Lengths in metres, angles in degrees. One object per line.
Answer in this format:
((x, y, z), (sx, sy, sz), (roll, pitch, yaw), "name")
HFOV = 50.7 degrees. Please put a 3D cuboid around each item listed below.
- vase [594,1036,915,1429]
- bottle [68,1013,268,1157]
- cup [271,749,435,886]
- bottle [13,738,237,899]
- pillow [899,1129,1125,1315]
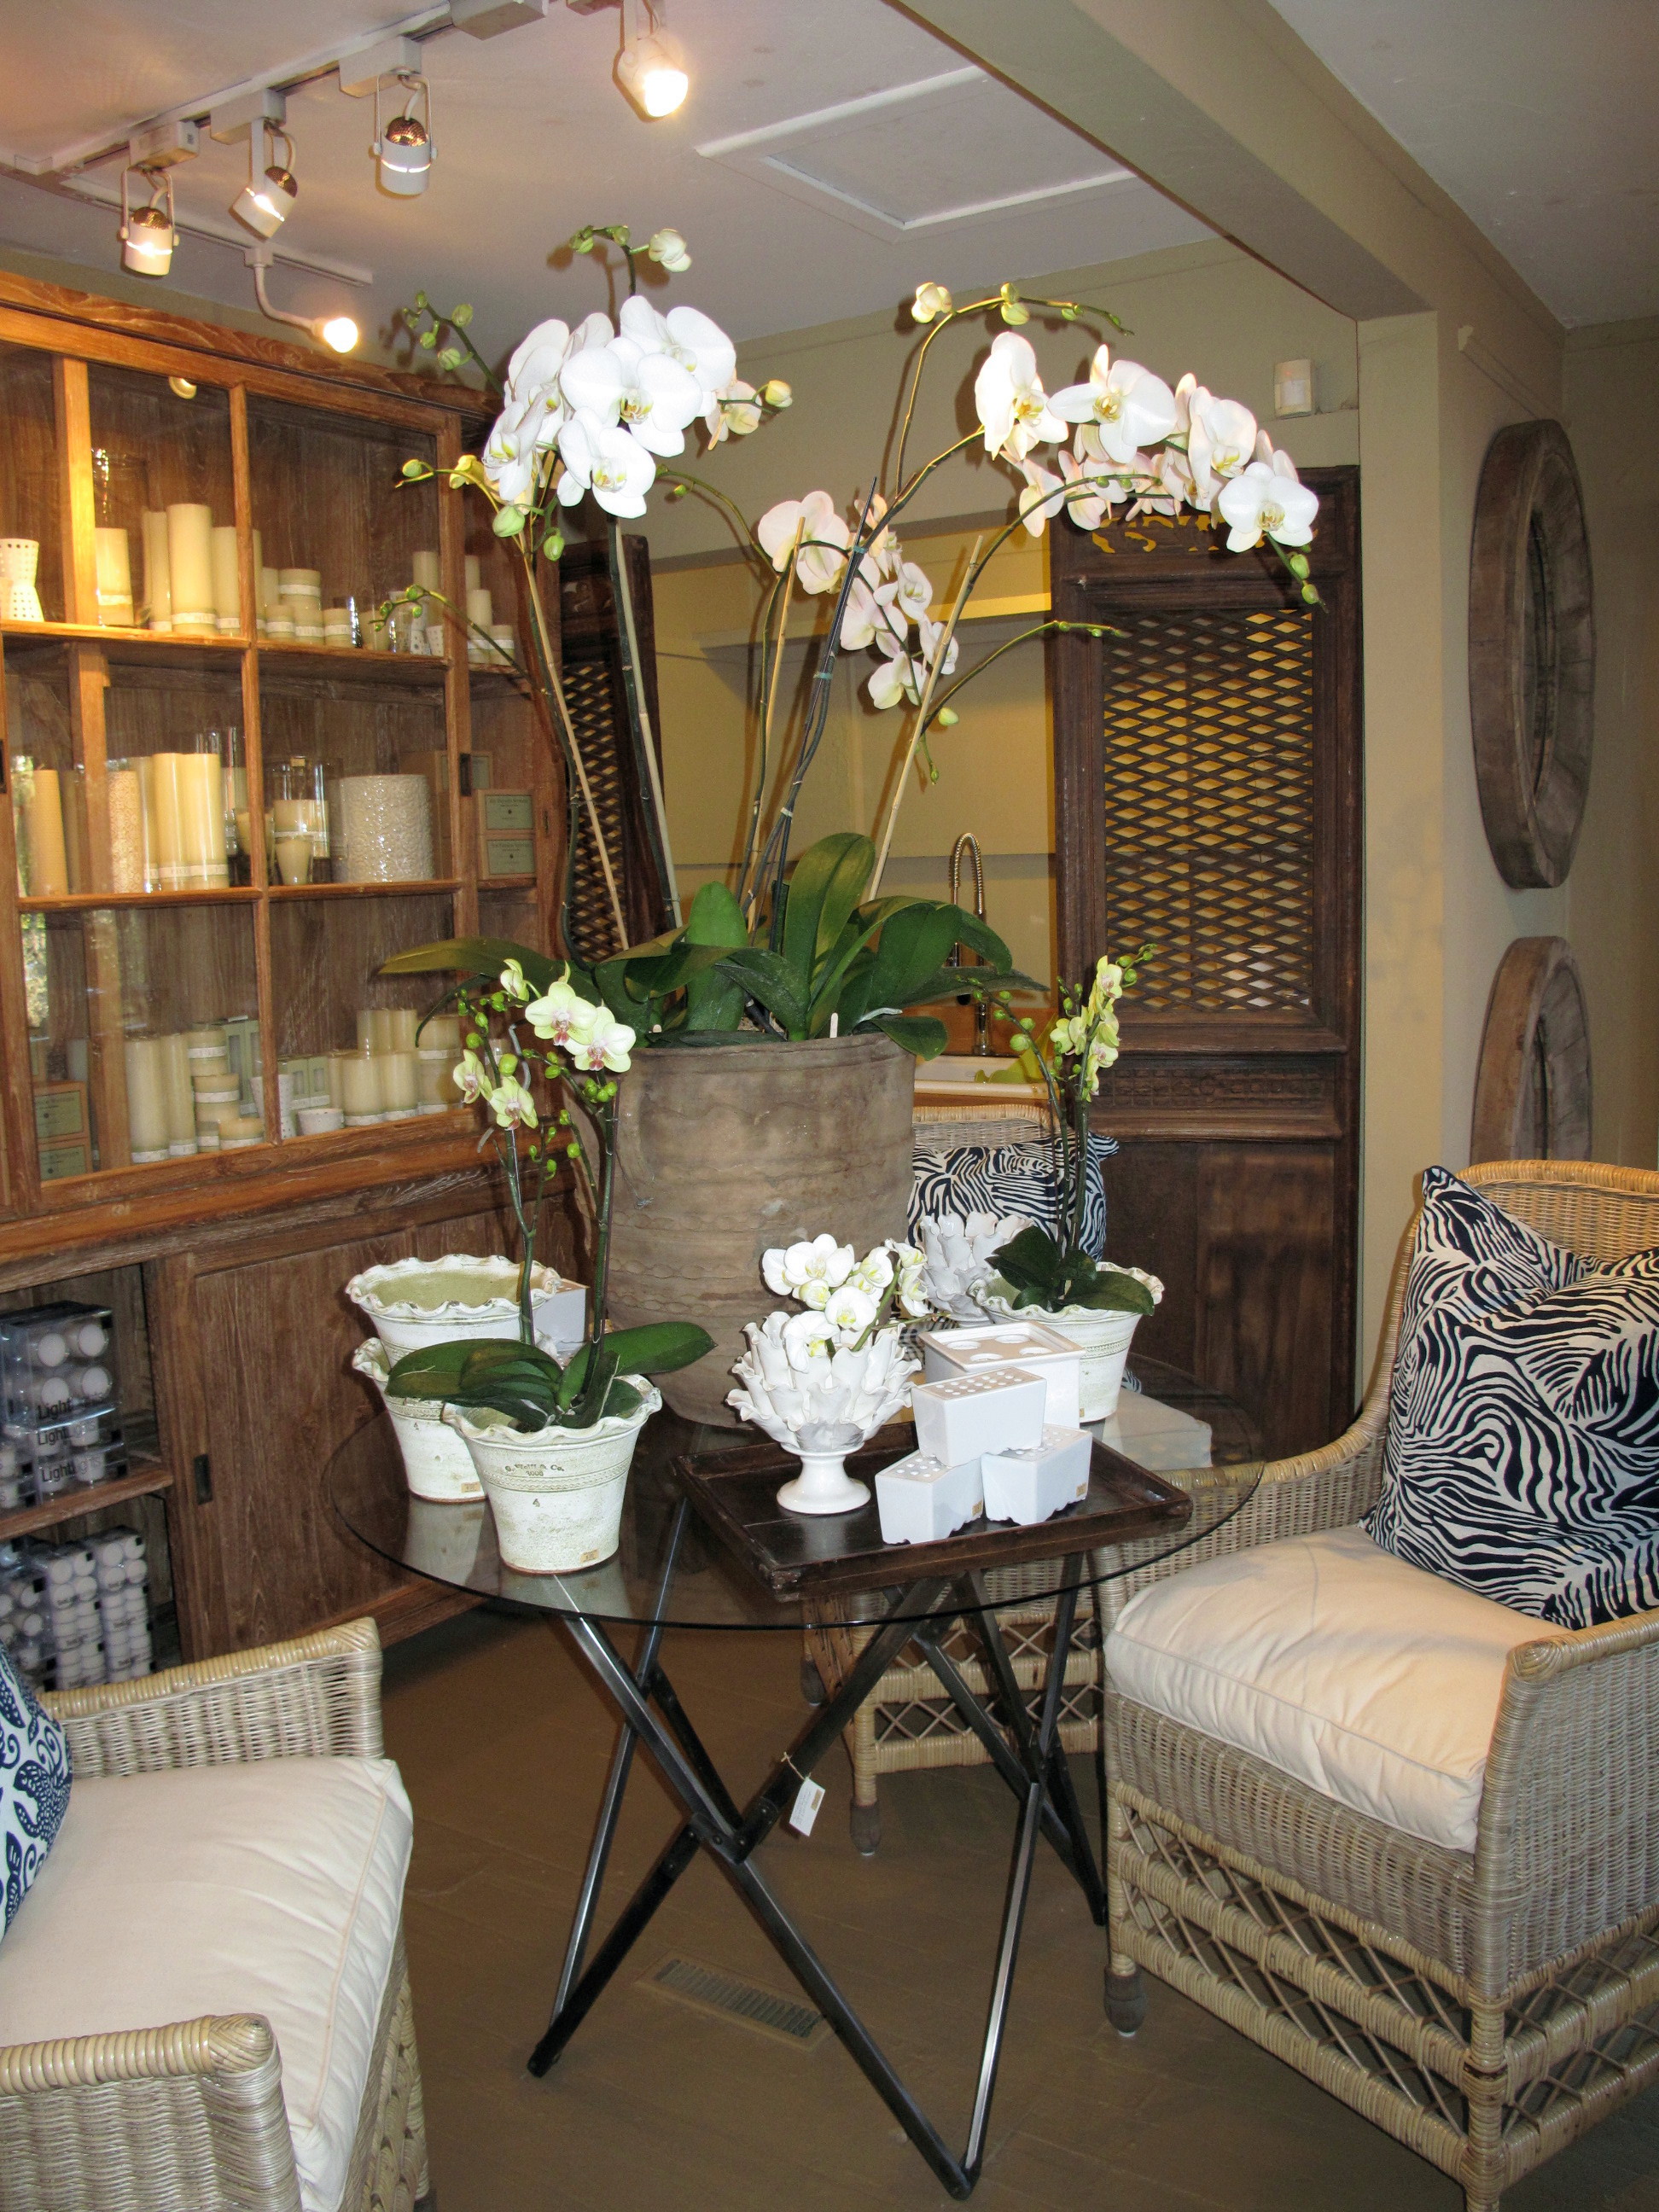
((-0.116, 0.066, 1.639), (0.346, 0.352, 0.332), (7, 15, -9), "vase")
((-0.930, -0.024, 2.504), (0.235, 0.208, 0.121), (-11, 11, -42), "bottle")
((-0.772, -0.458, 2.846), (0.133, 0.153, 0.247), (1, 1, 45), "cup")
((-0.987, -0.408, 2.441), (0.236, 0.297, 0.212), (9, 14, 25), "bottle")
((0.240, 0.148, 2.402), (0.136, 0.216, 0.227), (0, -13, 12), "pillow")
